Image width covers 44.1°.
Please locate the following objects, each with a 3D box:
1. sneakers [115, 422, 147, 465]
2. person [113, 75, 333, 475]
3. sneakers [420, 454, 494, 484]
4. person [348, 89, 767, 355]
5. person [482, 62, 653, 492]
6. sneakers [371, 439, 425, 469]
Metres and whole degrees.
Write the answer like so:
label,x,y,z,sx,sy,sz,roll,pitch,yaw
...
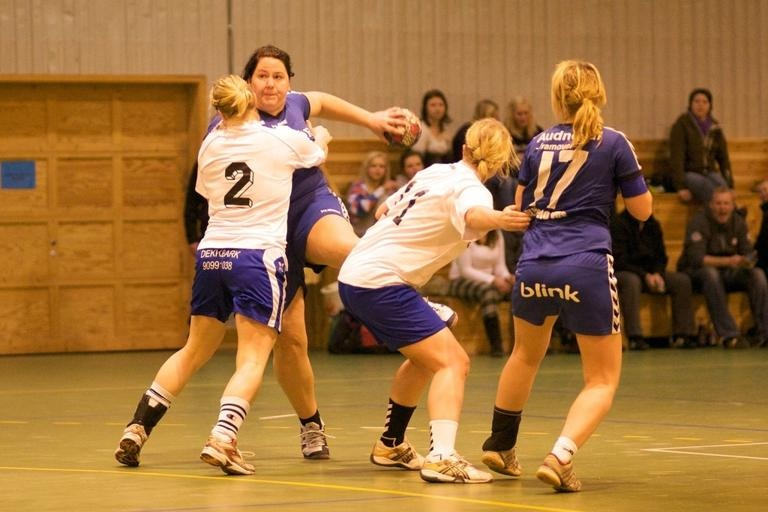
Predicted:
label,x,y,z,sx,sy,sz,roll,pitch,yaw
sneakers,-1.606,1.199,6.013,0.133,0.321,0.145,8,34,5
person,-0.970,0.098,5.997,1.143,2.493,0.625,0,3,-5
sneakers,0.423,1.307,5.754,0.446,0.177,0.167,4,-10,-3
person,1.693,-0.243,9.215,3.861,1.535,1.101,-1,-4,-7
person,1.085,0.092,5.783,0.775,2.593,0.736,-2,4,-38
sneakers,0.075,1.309,6.199,0.373,0.161,0.149,9,-1,-12
